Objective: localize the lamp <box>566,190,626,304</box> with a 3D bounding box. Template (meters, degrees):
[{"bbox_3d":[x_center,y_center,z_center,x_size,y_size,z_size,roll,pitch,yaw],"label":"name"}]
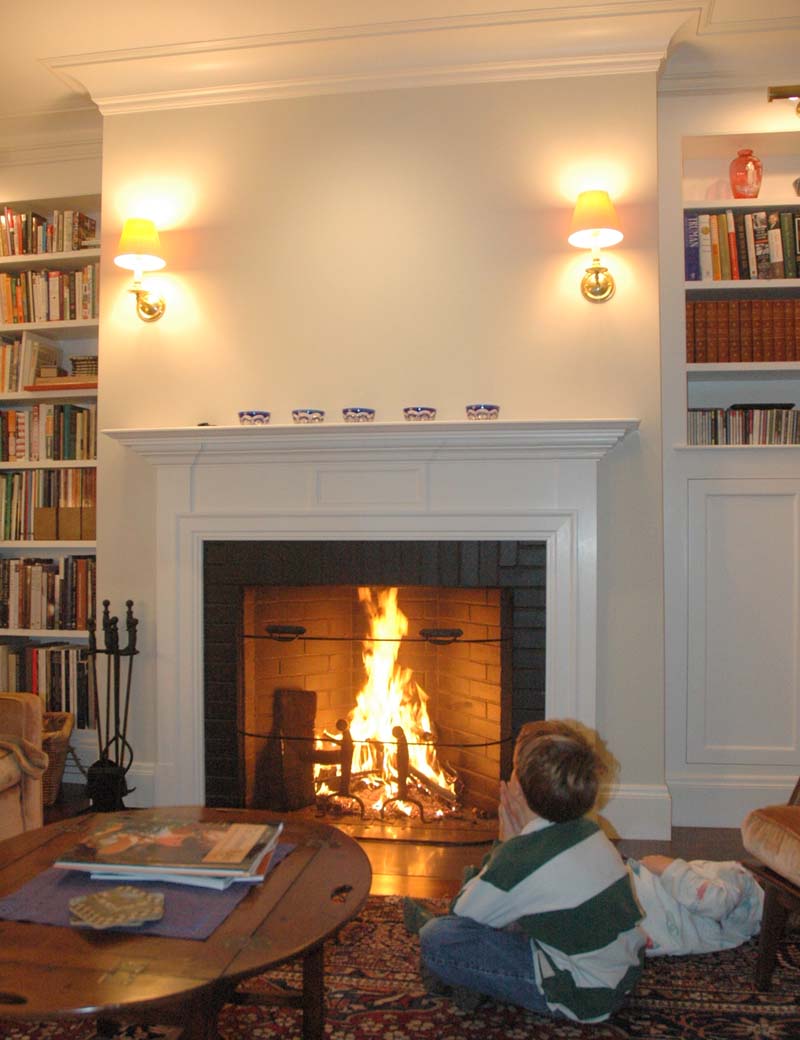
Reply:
[{"bbox_3d":[0.592,-0.828,3.100,0.172,0.334,0.219,5,9,7],"label":"lamp"}]

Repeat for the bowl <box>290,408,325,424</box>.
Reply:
[{"bbox_3d":[-0.292,-0.316,3.179,0.075,0.023,0.067,-1,-1,30],"label":"bowl"}]

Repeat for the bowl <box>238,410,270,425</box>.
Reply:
[{"bbox_3d":[-0.466,-0.315,3.198,0.069,0.022,0.064,0,-2,0],"label":"bowl"}]

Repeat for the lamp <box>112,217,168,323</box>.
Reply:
[{"bbox_3d":[-0.847,-0.808,3.338,0.167,0.329,0.307,1,9,-15],"label":"lamp"}]
